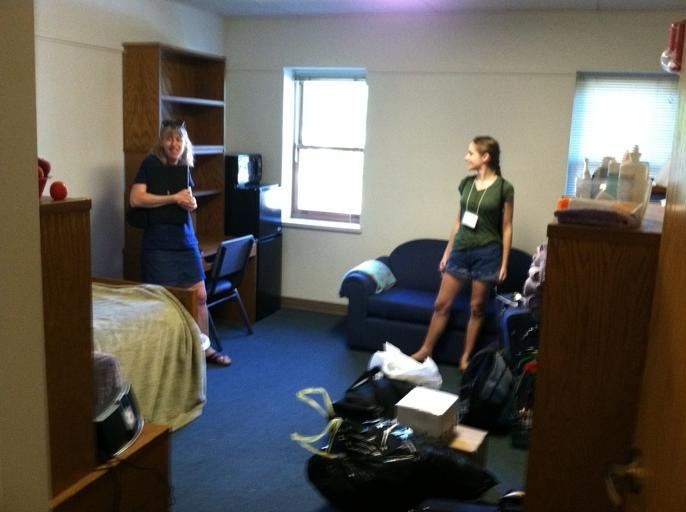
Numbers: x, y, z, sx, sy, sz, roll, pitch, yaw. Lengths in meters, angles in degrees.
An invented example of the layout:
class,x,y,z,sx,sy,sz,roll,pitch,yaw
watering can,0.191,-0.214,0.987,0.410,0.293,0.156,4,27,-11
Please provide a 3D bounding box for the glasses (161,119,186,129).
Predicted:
class,x,y,z,sx,sy,sz,roll,pitch,yaw
glasses,-1.224,-0.925,3.866,0.183,0.064,0.183,7,12,42

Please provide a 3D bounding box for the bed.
class,x,y,z,sx,sy,sz,roll,pitch,yaw
bed,-1.288,0.639,3.364,0.832,0.507,0.877,29,37,-41

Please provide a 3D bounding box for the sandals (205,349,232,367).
class,x,y,z,sx,sy,sz,roll,pitch,yaw
sandals,-0.947,0.774,4.182,0.220,0.062,0.092,5,11,21

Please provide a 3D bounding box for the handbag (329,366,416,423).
class,x,y,z,sx,sy,sz,roll,pitch,yaw
handbag,0.163,0.783,3.108,0.349,0.099,0.610,8,15,23
